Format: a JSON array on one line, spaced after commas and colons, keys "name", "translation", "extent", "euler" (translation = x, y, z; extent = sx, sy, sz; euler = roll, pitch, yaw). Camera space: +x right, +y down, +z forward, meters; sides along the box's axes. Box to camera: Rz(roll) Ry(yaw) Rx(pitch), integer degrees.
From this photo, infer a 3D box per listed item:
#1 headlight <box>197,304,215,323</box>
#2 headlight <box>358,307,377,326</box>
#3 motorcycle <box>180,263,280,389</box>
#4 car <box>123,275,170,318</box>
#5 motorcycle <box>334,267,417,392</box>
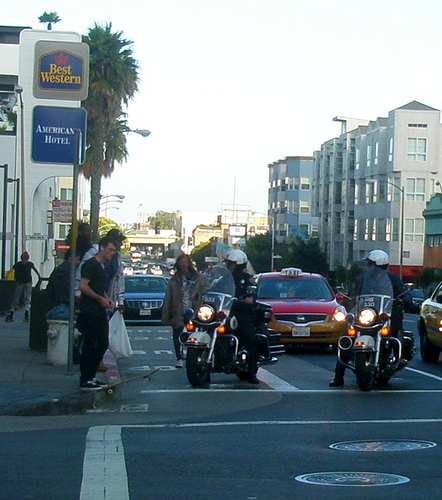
[{"name": "headlight", "translation": [-0.191, 0.815, 9.866], "extent": [0.245, 0.202, 0.237], "euler": [28, 6, 3]}, {"name": "headlight", "translation": [1.868, 0.865, 9.761], "extent": [0.225, 0.206, 0.057], "euler": [-10, -5, 32]}, {"name": "motorcycle", "translation": [-0.004, 1.158, 10.761], "extent": [0.980, 1.143, 2.153], "euler": [2, -4, 27]}, {"name": "car", "translation": [-2.443, 1.456, 24.307], "extent": [1.386, 0.913, 3.005], "euler": [0, -2, -3]}, {"name": "motorcycle", "translation": [1.972, 1.089, 10.003], "extent": [0.995, 1.706, 1.494], "euler": [1, -3, 3]}]
